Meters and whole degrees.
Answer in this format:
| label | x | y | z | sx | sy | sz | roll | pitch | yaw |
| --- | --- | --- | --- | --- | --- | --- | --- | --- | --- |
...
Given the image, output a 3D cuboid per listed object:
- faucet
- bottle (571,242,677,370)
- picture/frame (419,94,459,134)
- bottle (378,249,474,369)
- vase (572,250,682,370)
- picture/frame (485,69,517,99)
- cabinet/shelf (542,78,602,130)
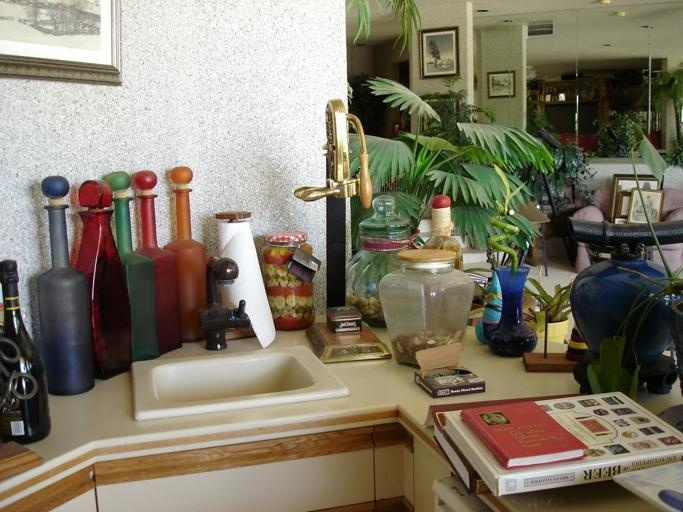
| label | x | y | z | sx | sy | sz | roll | pitch | yaw |
| --- | --- | --- | --- | --- | --- | --- | --- | --- | --- |
| faucet | -0.353 | 0.138 | 1.637 | 0.139 | 0.269 | 0.182 | -6 | 9 | -15 |
| bottle | 0.630 | 0.111 | 1.369 | 0.251 | 0.295 | 0.259 | 3 | 2 | 14 |
| picture/frame | 1.322 | -1.912 | 7.459 | 0.512 | 0.627 | 0.850 | -2 | 9 | 12 |
| bottle | 0.240 | 0.123 | 1.597 | 0.291 | 0.405 | 0.293 | -1 | 8 | 0 |
| vase | 0.570 | 0.119 | 1.232 | 0.234 | 0.257 | 0.239 | -1 | -2 | 1 |
| picture/frame | 2.327 | -2.480 | 8.051 | 0.457 | 0.454 | 0.037 | 2 | 4 | 19 |
| cabinet/shelf | 3.173 | -2.053 | 7.621 | 0.815 | 0.786 | 0.294 | 0 | 10 | 25 |
